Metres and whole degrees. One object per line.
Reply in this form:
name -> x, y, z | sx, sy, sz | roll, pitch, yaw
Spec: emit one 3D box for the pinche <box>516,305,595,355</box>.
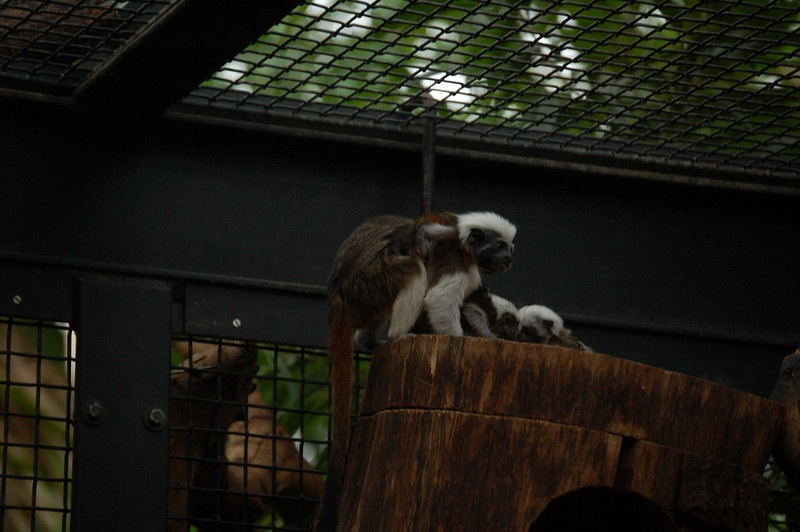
pinche -> 0.729, 0.319, 8.940 | 0.469, 0.183, 0.148 | 8, 16, -21
